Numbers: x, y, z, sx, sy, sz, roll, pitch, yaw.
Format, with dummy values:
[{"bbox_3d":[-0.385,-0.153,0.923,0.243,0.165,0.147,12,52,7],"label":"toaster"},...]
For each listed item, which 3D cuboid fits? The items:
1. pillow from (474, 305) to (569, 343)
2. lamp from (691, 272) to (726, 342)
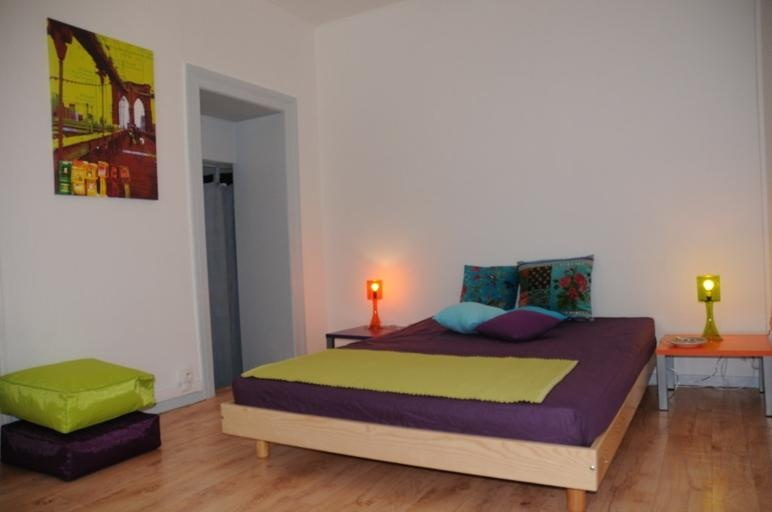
[{"bbox_3d":[1.037,0.552,4.402,0.408,0.140,0.346,-9,4,-40],"label":"pillow"},{"bbox_3d":[2.719,0.425,4.597,0.202,0.510,0.367,4,13,29],"label":"lamp"}]
